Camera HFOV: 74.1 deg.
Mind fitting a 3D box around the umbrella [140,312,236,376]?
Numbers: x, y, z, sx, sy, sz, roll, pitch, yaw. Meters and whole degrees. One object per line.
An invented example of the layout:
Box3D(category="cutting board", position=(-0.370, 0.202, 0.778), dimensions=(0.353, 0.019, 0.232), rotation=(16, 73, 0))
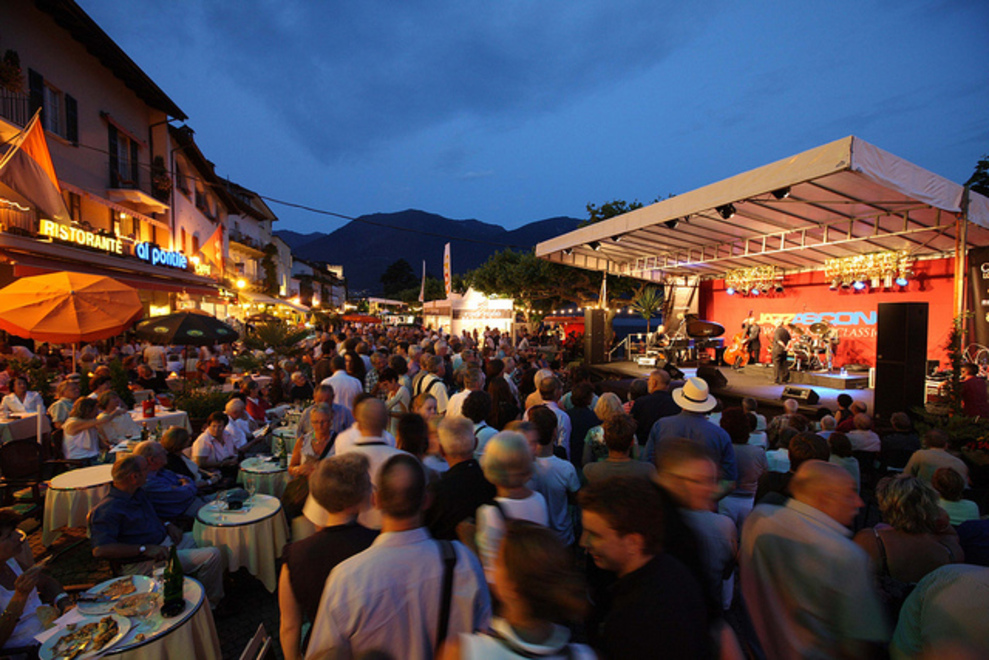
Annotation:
Box3D(category="umbrella", position=(-5.889, 0.181, 12.559), dimensions=(1.001, 0.785, 1.051), rotation=(-6, 16, -40))

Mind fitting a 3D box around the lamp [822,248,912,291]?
Box3D(category="lamp", position=(10.009, -1.640, 17.561), dimensions=(0.616, 0.923, 2.382), rotation=(3, -2, -22))

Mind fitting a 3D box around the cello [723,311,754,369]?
Box3D(category="cello", position=(7.607, 0.404, 20.431), dimensions=(0.554, 1.647, 0.834), rotation=(12, 30, 9))

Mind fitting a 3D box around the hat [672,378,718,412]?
Box3D(category="hat", position=(2.428, 0.824, 8.108), dimensions=(0.411, 0.188, 0.479), rotation=(-2, 24, -4))

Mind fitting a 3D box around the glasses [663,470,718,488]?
Box3D(category="glasses", position=(1.887, 1.435, 6.336), dimensions=(0.327, 0.085, 0.196), rotation=(2, 0, 2))
